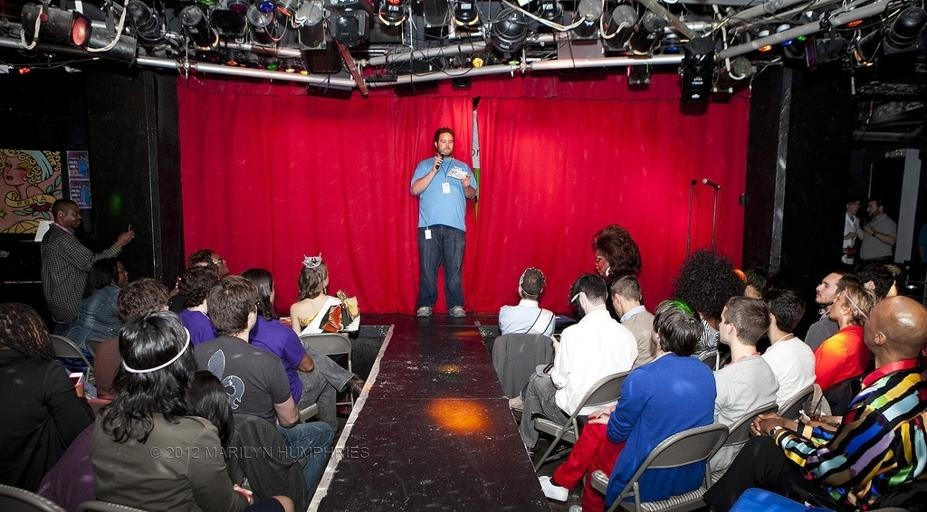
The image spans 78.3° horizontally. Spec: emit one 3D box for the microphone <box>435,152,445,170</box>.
[{"bbox_3d":[-0.283,-1.148,6.950,0.148,0.228,0.431,-2,9,-2],"label":"microphone"}]

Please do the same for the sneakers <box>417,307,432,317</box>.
[{"bbox_3d":[-0.478,0.710,7.168,0.116,0.094,0.232,-1,-6,4],"label":"sneakers"}]

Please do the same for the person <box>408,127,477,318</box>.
[{"bbox_3d":[-0.245,-0.415,7.186,0.783,2.312,0.637,-2,10,-2],"label":"person"}]

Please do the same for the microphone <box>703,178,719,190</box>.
[{"bbox_3d":[3.244,-0.943,7.413,0.116,0.090,0.328,-25,-32,34],"label":"microphone"}]

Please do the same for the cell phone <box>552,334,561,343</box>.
[{"bbox_3d":[0.994,0.882,6.030,0.155,0.062,0.213,2,2,6],"label":"cell phone"}]
